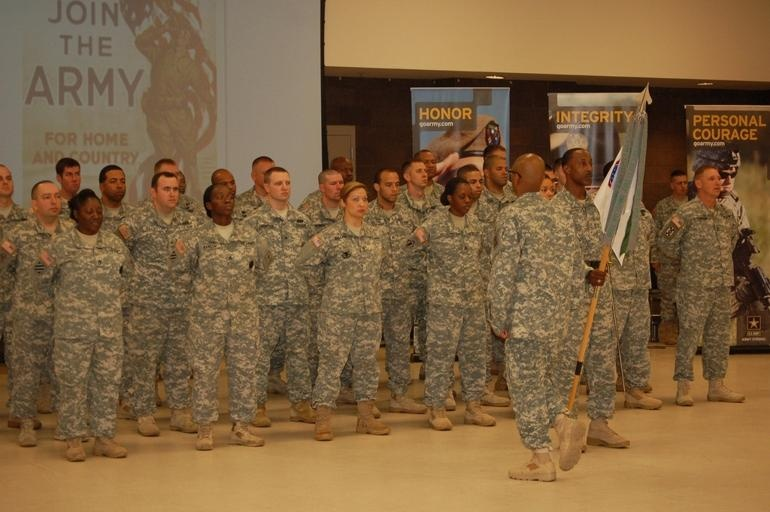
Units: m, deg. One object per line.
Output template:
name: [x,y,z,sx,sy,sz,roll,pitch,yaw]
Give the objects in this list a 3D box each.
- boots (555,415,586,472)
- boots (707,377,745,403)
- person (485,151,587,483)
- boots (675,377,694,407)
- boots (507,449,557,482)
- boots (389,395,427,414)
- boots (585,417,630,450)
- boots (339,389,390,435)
boots: [1.334,1.359,5.715,0.212,0.427,0.204,1,5,15]
boots: [3.509,1.365,8.106,0.473,0.285,0.164,-1,0,9]
person: [1.113,0.453,5.851,0.686,2.395,0.562,0,5,10]
boots: [3.000,1.351,7.960,0.171,0.237,0.252,1,6,20]
boots: [1.117,1.559,6.003,0.458,0.278,0.171,1,-2,17]
boots: [0.242,1.477,7.941,0.368,0.138,0.157,0,-1,10]
boots: [1.844,1.490,6.653,0.480,0.292,0.155,0,0,17]
boots: [-0.197,1.467,7.416,0.237,0.294,0.721,1,-2,-40]
